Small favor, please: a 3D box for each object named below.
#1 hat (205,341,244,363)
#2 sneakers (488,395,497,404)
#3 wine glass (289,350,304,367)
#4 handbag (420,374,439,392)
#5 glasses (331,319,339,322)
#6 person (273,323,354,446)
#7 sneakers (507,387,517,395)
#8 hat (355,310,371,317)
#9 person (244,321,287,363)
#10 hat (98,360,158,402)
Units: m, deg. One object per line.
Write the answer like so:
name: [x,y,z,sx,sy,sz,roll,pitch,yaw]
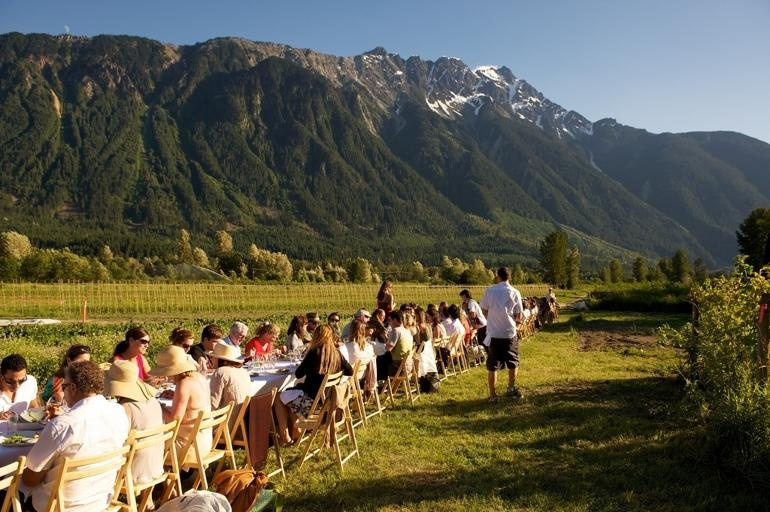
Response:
hat: [-3.262,1.950,13.189,0.647,0.270,0.607,10,-12,41]
sneakers: [2.643,3.496,15.800,0.169,0.199,0.126,2,-4,-4]
wine glass: [-2.047,2.314,14.771,0.278,0.275,0.327,2,-10,-8]
handbag: [1.146,3.287,16.748,0.450,0.541,0.350,-3,4,1]
glasses: [-1.375,1.720,17.308,0.130,0.053,0.135,-2,-1,21]
person: [-1.567,2.585,13.263,1.279,2.572,0.982,3,-1,18]
sneakers: [3.158,3.348,16.058,0.138,0.196,0.419,-3,-7,11]
hat: [-0.600,1.503,17.057,0.358,0.201,0.270,6,1,-44]
person: [-2.965,2.069,15.589,0.944,1.148,0.749,0,1,0]
hat: [-4.356,2.051,10.756,0.711,0.301,0.596,24,10,25]
